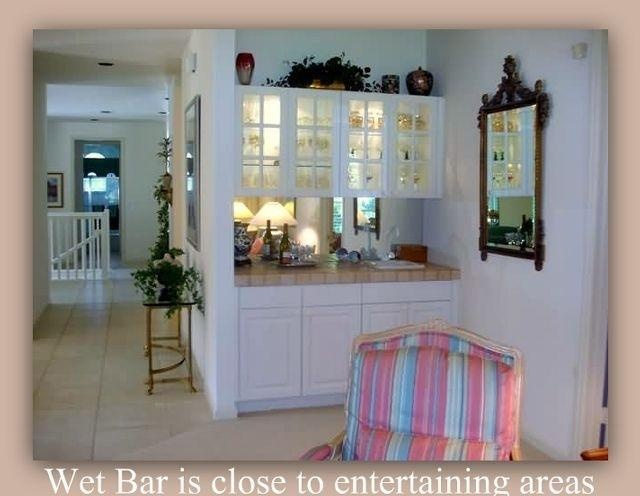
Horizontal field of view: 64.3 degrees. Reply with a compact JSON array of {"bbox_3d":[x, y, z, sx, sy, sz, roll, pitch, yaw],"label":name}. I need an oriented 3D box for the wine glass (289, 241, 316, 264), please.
[{"bbox_3d":[-0.165,0.033,4.352,0.159,0.144,0.191,2,6,6],"label":"wine glass"}]

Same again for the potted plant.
[{"bbox_3d":[-1.298,0.218,4.310,0.422,0.382,0.369,13,-2,-32],"label":"potted plant"}]

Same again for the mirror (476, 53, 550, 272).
[{"bbox_3d":[1.302,-0.582,3.470,0.086,1.412,0.673,-2,7,-18],"label":"mirror"}]

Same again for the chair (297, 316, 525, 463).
[{"bbox_3d":[0.422,0.423,2.411,0.914,1.043,0.594,2,0,19],"label":"chair"}]

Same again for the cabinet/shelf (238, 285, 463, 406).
[{"bbox_3d":[0.066,0.631,3.273,0.888,0.537,0.251,-1,-1,-14],"label":"cabinet/shelf"}]

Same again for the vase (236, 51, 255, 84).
[{"bbox_3d":[-0.610,-1.450,4.115,0.139,0.281,0.217,-1,7,-10],"label":"vase"}]

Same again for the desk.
[{"bbox_3d":[-1.379,0.925,4.671,0.286,0.482,0.732,-1,5,-13],"label":"desk"}]
